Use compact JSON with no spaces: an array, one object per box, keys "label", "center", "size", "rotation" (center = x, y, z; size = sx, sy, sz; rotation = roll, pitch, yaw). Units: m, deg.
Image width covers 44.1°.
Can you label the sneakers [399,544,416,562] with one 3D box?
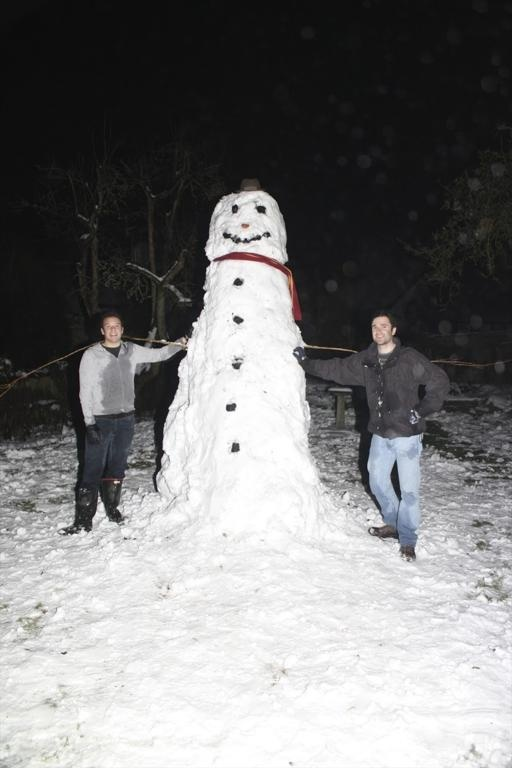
[{"label":"sneakers","center":[1.162,1.289,4.798],"size":[0.068,0.085,0.126],"rotation":[-1,-29,4]}]

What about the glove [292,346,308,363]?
[{"label":"glove","center":[0.373,-0.247,5.344],"size":[0.107,0.143,0.046],"rotation":[-18,10,-42]}]

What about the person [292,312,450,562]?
[{"label":"person","center":[1.033,0.360,5.080],"size":[0.409,1.851,1.029],"rotation":[-7,15,-31]}]

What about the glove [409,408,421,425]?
[{"label":"glove","center":[1.191,0.245,4.731],"size":[0.075,0.110,0.032],"rotation":[0,10,1]}]

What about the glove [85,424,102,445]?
[{"label":"glove","center":[-1.293,0.401,5.075],"size":[0.112,0.151,0.048],"rotation":[-2,-6,6]}]

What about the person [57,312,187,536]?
[{"label":"person","center":[-1.253,0.319,5.364],"size":[0.393,1.806,0.840],"rotation":[7,14,29]}]

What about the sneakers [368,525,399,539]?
[{"label":"sneakers","center":[1.062,1.217,5.237],"size":[0.238,0.108,0.094],"rotation":[6,-1,12]}]
